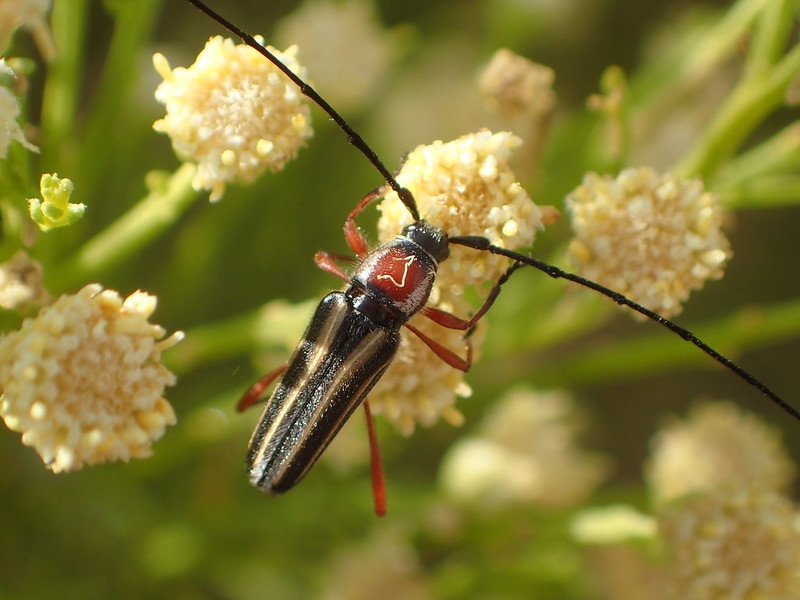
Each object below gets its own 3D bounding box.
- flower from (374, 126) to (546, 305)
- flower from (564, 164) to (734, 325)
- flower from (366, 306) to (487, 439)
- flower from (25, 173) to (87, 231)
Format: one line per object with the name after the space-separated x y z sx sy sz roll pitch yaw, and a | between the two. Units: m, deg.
0.171 -0.234 2.080 0.336 0.157 0.414 -10 -85 22 | flower
0.579 -0.150 2.094 0.380 0.125 0.288 13 -59 10 | flower
0.067 0.191 2.220 0.254 0.239 0.277 11 -58 11 | flower
-0.785 -0.216 1.976 0.117 0.072 0.114 -24 -71 27 | flower
